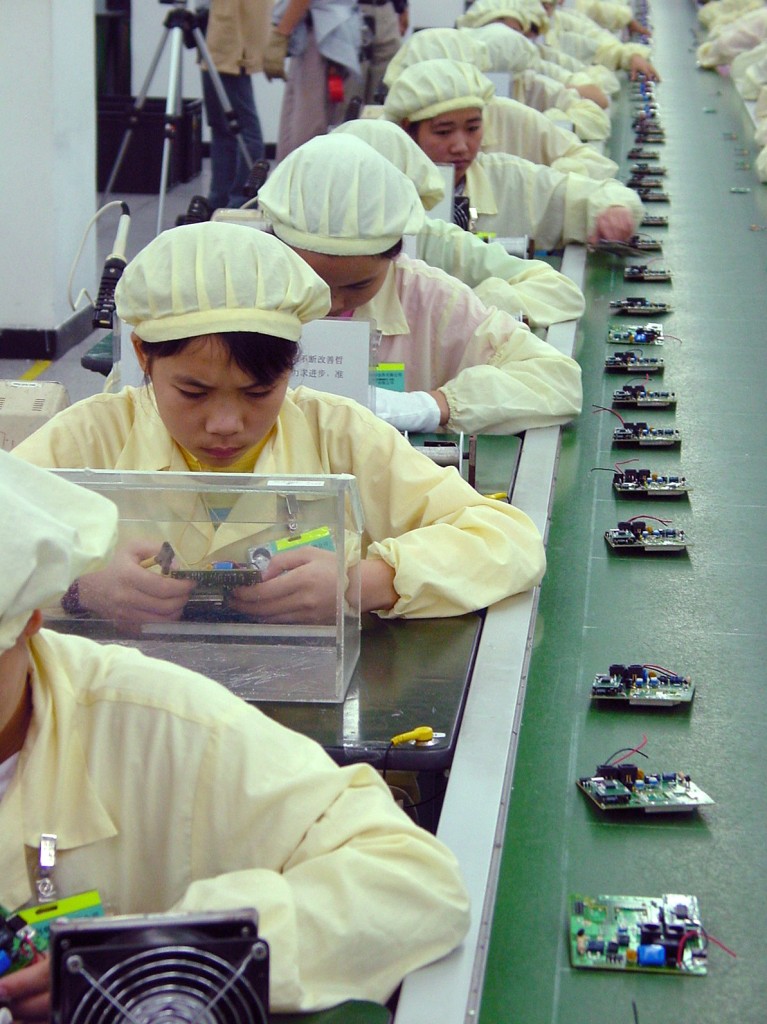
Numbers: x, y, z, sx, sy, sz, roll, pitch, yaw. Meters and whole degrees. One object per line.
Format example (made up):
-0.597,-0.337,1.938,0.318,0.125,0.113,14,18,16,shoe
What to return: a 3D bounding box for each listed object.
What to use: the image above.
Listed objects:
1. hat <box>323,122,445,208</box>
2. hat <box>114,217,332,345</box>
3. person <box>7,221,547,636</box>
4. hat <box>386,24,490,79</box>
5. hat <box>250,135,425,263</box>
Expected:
-0.001,-0.929,3.249,0.228,0.219,0.334,0,36,23,hat
-0.239,-0.363,1.829,0.369,0.209,0.465,-1,5,-6,hat
-0.248,-0.163,1.841,0.920,0.615,0.576,-1,18,-11,person
0.230,-1.851,4.579,0.342,0.158,0.432,-18,18,-25,hat
-0.079,-0.729,2.709,0.445,0.298,0.556,7,7,-8,hat
